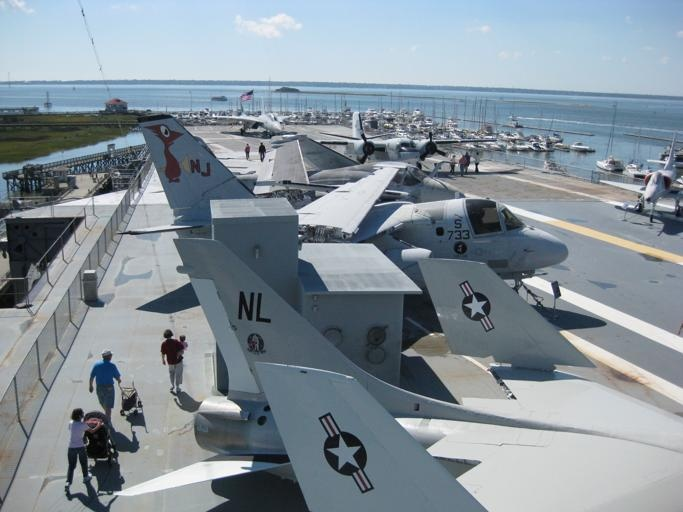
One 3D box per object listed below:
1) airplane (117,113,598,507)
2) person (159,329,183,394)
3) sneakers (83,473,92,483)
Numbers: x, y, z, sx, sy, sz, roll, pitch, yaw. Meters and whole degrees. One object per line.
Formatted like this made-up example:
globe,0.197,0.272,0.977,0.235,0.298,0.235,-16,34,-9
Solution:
airplane,0.833,-1.398,18.532,15.953,7.498,17.860,-10,21,-24
person,-4.899,2.936,14.278,0.582,2.008,0.929,-11,24,-22
sneakers,-5.853,5.114,11.277,0.166,0.147,0.237,0,0,3
